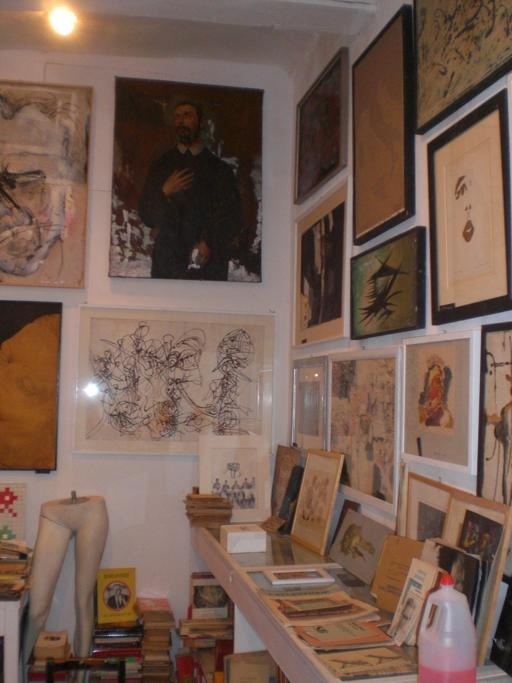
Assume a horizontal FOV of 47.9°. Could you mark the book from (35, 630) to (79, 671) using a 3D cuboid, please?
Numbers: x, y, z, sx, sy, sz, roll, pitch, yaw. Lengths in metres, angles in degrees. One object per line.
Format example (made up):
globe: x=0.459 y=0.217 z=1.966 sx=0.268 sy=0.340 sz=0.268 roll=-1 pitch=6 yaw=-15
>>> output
book: x=-1.062 y=1.593 z=3.017 sx=0.128 sy=0.075 sz=0.193 roll=2 pitch=11 yaw=-6
